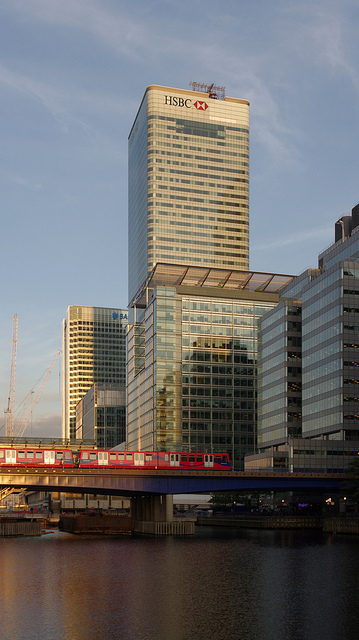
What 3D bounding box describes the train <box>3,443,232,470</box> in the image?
[{"bbox_3d":[-6.711,14.452,115.166,23.461,2.356,2.971,3,-11,-25],"label":"train"}]
